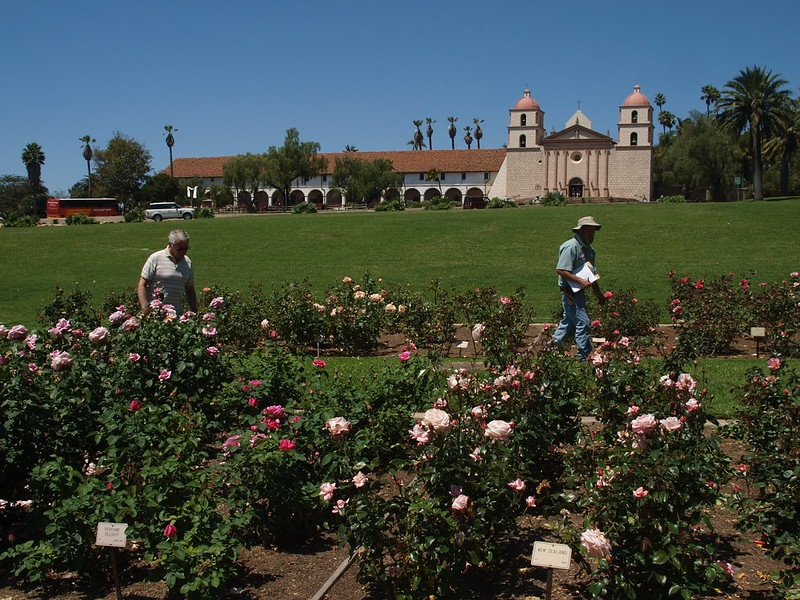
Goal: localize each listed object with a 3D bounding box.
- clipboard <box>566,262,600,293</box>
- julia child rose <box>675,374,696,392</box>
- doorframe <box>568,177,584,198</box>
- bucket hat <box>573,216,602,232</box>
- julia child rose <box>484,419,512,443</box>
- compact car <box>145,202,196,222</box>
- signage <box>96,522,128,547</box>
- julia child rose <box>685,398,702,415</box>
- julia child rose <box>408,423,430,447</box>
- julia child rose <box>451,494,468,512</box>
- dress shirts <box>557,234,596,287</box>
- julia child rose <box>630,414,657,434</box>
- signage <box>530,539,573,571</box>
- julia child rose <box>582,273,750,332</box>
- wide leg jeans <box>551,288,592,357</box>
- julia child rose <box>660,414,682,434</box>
[{"bbox_3d":[2.154,-0.266,9.058,0.337,0.344,0.288,2,8,23],"label":"clipboard"},{"bbox_3d":[2.004,0.575,5.410,0.140,0.150,0.093,9,1,31],"label":"julia child rose"},{"bbox_3d":[18.024,-11.715,79.041,1.499,1.843,0.609,0,7,11],"label":"doorframe"},{"bbox_3d":[2.253,-0.923,9.333,0.382,0.172,0.440,-6,-3,5],"label":"bucket hat"},{"bbox_3d":[0.653,0.891,5.217,0.165,0.206,0.256,-1,7,3],"label":"julia child rose"},{"bbox_3d":[-16.775,-6.242,54.077,4.146,1.164,2.951,4,10,35],"label":"compact car"},{"bbox_3d":[-1.940,1.567,5.137,0.204,0.158,0.029,-2,-3,16],"label":"signage"},{"bbox_3d":[2.003,0.726,5.263,0.087,0.092,0.079,23,-8,-40],"label":"julia child rose"},{"bbox_3d":[0.126,0.891,5.079,0.080,0.162,0.146,5,-12,-41],"label":"julia child rose"},{"bbox_3d":[0.382,1.306,4.977,0.113,0.134,0.211,-1,8,3],"label":"julia child rose"},{"bbox_3d":[2.137,-0.491,9.343,0.629,0.620,0.323,-2,6,-42],"label":"dress shirts"},{"bbox_3d":[1.590,0.803,5.023,0.153,0.132,0.168,1,8,18],"label":"julia child rose"},{"bbox_3d":[0.934,1.610,4.764,0.220,0.225,0.198,1,8,15],"label":"signage"},{"bbox_3d":[4.038,0.097,11.249,1.530,0.794,1.614,3,12,25],"label":"julia child rose"},{"bbox_3d":[2.057,0.286,9.241,0.502,0.860,0.354,-3,34,12],"label":"wide leg jeans"},{"bbox_3d":[1.766,0.825,5.042,0.113,0.140,0.143,0,8,12],"label":"julia child rose"}]
